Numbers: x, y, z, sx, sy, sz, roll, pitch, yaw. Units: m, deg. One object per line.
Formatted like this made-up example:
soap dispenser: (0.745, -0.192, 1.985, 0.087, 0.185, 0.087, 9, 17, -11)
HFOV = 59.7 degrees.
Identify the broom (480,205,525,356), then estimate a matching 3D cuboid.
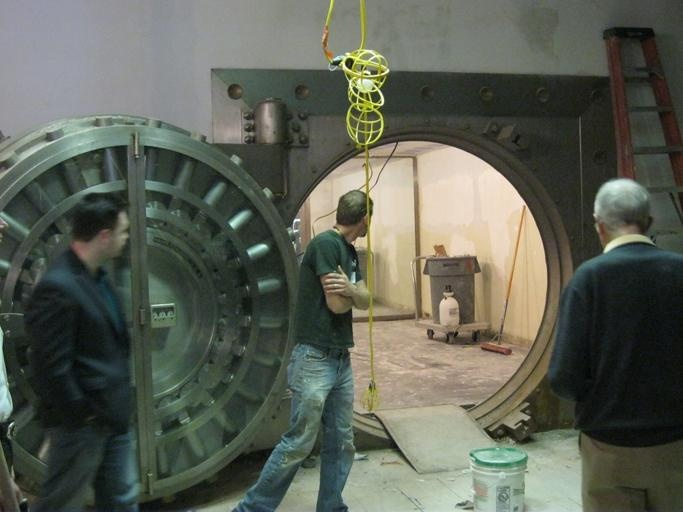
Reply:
broom: (2.154, 0.306, 8.193, 0.555, 1.904, 0.835, -2, 0, -23)

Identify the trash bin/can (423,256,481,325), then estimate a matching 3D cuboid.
trash bin/can: (1.645, 0.487, 8.813, 0.796, 0.991, 0.627, -3, 4, 8)

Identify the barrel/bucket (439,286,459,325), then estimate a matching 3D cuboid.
barrel/bucket: (1.550, 0.691, 8.576, 0.344, 0.578, 0.334, -1, 8, 0)
